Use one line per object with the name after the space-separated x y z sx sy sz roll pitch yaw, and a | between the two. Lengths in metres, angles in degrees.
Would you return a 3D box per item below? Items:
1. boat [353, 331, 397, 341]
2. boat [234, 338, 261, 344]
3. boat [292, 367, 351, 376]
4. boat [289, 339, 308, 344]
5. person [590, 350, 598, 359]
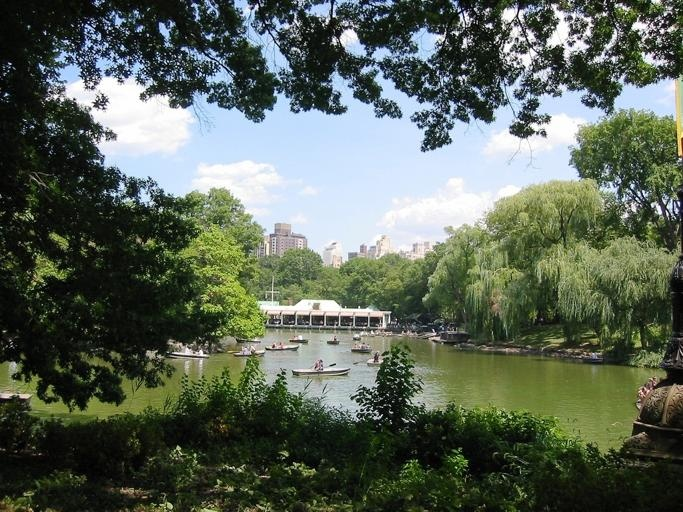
3.427 8.281 77.169 4.358 0.839 1.017 0 0 -24 | boat
-7.157 6.421 56.317 2.336 0.496 0.494 10 -14 -44 | boat
-1.020 5.579 35.676 2.569 0.422 0.559 0 -1 -15 | boat
-3.907 7.168 62.369 1.966 0.369 0.525 -2 -2 19 | boat
13.224 5.150 38.522 0.244 0.461 0.765 -6 -9 6 | person
